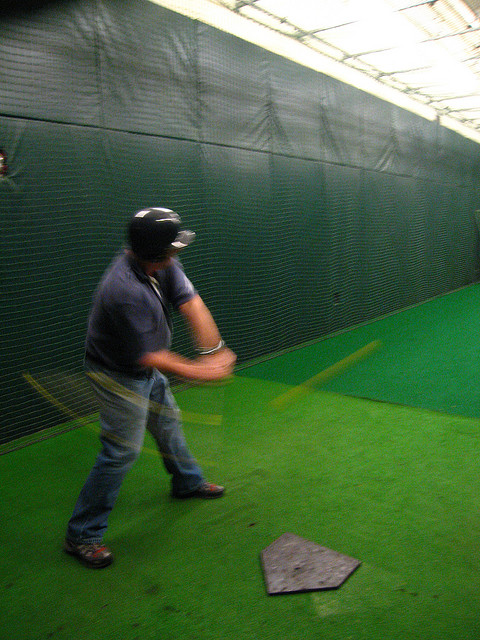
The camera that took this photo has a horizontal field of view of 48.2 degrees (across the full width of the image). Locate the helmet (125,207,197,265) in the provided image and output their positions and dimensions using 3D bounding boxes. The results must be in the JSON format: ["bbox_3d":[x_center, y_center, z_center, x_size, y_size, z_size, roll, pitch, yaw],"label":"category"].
[{"bbox_3d":[-0.310,-0.328,2.069,0.184,0.222,0.228,5,10,41],"label":"helmet"}]
